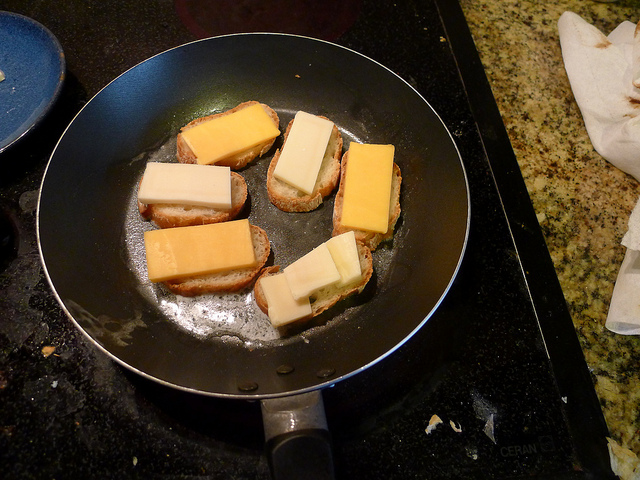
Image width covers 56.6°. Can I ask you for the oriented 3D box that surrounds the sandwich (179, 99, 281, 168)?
[{"bbox_3d":[-0.297,-0.348,1.991,0.312,0.068,0.208,-26,69,-9],"label":"sandwich"}]

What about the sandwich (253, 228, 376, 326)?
[{"bbox_3d":[-0.015,0.134,1.927,0.373,0.138,0.239,-25,82,-7],"label":"sandwich"}]
